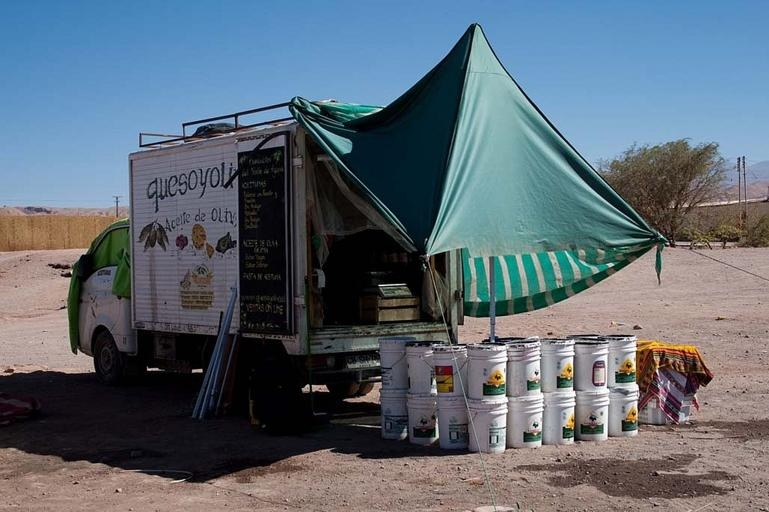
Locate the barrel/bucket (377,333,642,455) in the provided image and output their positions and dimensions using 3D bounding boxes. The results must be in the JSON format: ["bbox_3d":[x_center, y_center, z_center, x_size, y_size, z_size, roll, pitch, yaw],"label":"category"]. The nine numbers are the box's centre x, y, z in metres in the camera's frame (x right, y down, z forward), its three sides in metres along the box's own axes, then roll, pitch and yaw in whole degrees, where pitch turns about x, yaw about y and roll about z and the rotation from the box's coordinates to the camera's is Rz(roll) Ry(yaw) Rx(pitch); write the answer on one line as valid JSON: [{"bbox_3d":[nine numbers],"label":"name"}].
[{"bbox_3d":[1.593,1.882,10.984,3.179,1.403,1.140,-2,3,-8],"label":"barrel/bucket"}]

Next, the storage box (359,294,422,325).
[{"bbox_3d":[0.101,0.874,12.846,0.788,0.513,0.742,0,-2,-18],"label":"storage box"}]
